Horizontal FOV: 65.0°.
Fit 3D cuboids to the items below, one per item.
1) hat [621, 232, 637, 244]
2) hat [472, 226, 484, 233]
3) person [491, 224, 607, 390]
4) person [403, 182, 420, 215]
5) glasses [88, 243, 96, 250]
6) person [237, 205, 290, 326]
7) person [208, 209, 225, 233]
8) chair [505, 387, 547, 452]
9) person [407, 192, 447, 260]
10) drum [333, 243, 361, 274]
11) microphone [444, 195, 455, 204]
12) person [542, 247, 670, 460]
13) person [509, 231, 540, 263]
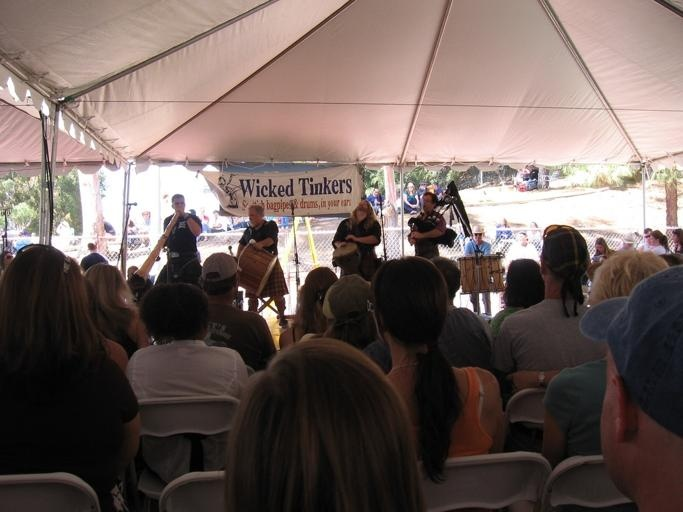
[{"bbox_3d":[5.788,-0.313,10.832,0.318,0.318,0.463,-2,-4,29],"label":"hat"},{"bbox_3d":[2.483,-0.453,9.801,0.303,0.146,0.368,0,0,15],"label":"hat"},{"bbox_3d":[1.088,0.262,2.842,0.600,0.896,0.520,-6,23,-4],"label":"person"},{"bbox_3d":[1.903,-1.518,14.632,0.458,0.886,0.838,-2,11,-1],"label":"person"},{"bbox_3d":[-4.398,-0.136,9.430,0.080,0.127,0.083,2,30,-27],"label":"glasses"},{"bbox_3d":[-1.095,0.176,7.193,0.555,1.642,0.543,-4,2,9],"label":"person"},{"bbox_3d":[-4.006,-1.025,17.130,0.612,0.900,0.313,0,-17,-11],"label":"person"},{"bbox_3d":[0.827,0.760,2.429,0.169,0.317,0.264,-1,0,17],"label":"chair"},{"bbox_3d":[1.043,-0.391,6.676,0.475,0.821,0.616,-1,0,13],"label":"person"},{"bbox_3d":[0.069,0.039,6.552,0.186,0.321,0.232,-18,32,8],"label":"drum"},{"bbox_3d":[1.432,-0.731,7.165,0.102,0.033,0.106,-2,-19,-12],"label":"microphone"},{"bbox_3d":[1.055,0.464,2.343,0.599,1.072,0.249,5,6,6],"label":"person"},{"bbox_3d":[3.754,-0.160,11.032,0.487,0.952,0.317,-8,-27,36],"label":"person"}]
